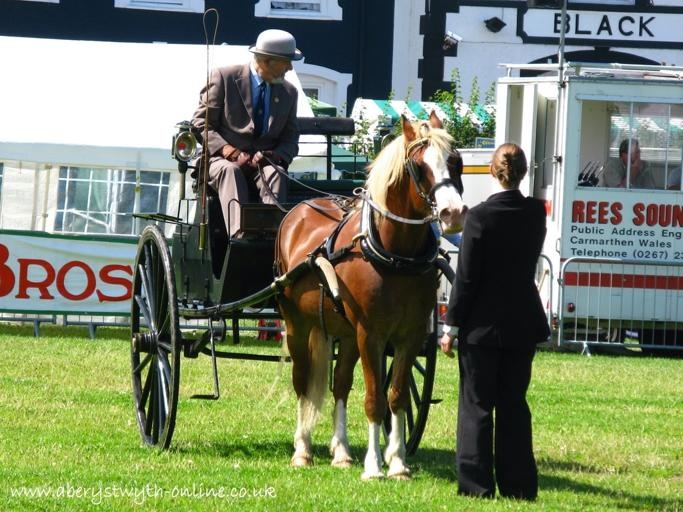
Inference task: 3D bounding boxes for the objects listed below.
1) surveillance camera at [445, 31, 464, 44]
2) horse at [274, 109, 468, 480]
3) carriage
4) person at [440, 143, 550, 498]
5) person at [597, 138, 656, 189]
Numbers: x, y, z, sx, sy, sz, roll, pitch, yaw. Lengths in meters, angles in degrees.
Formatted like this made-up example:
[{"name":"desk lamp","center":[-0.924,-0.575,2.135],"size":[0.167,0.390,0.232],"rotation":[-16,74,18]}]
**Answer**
[{"name":"surveillance camera","center":[2.469,-4.765,30.684],"size":[0.408,0.243,0.249],"rotation":[0,11,-7]},{"name":"horse","center":[0.188,0.687,16.820],"size":[1.229,4.096,4.338],"rotation":[-1,-2,-28]},{"name":"carriage","center":[-0.406,0.697,17.093],"size":[2.956,3.989,5.042],"rotation":[6,-8,-40]},{"name":"person","center":[1.743,0.730,15.779],"size":[1.115,3.875,0.876],"rotation":[2,10,5]},{"name":"person","center":[4.717,-1.385,22.907],"size":[0.692,1.078,0.869],"rotation":[3,-9,-13]}]
